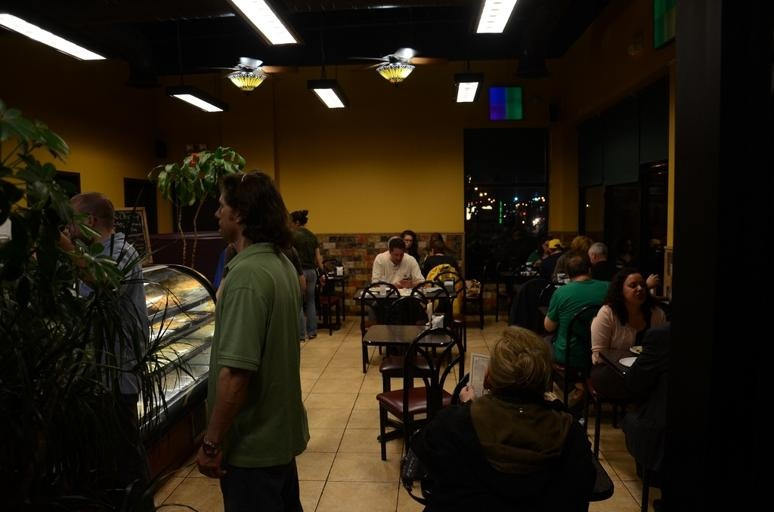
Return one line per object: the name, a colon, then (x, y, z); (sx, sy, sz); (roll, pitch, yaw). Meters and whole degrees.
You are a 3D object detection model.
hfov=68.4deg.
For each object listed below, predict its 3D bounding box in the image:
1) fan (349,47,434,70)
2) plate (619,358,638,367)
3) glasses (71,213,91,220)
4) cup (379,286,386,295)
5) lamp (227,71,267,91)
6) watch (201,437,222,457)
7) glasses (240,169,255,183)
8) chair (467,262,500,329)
fan: (0.024, -2.342, 6.693); (0.891, 0.155, 0.936); (0, 6, 2)
plate: (1.433, 0.624, 3.392); (0.085, 0.033, 0.242); (1, 3, 28)
glasses: (-0.702, -0.089, 1.296); (0.040, 0.015, 0.044); (-4, 4, 23)
cup: (-0.051, 0.394, 6.451); (0.071, 0.088, 0.074); (0, 0, 0)
lamp: (-1.488, -1.877, 6.078); (0.347, 0.139, 0.363); (-1, 0, -1)
watch: (-0.611, 0.661, 1.963); (0.050, 0.025, 0.067); (39, -36, -17)
glasses: (-0.516, -0.301, 2.116); (0.041, 0.057, 0.058); (1, -36, -8)
chair: (1.393, 0.527, 8.224); (0.509, 0.862, 1.626); (0, 2, 9)
